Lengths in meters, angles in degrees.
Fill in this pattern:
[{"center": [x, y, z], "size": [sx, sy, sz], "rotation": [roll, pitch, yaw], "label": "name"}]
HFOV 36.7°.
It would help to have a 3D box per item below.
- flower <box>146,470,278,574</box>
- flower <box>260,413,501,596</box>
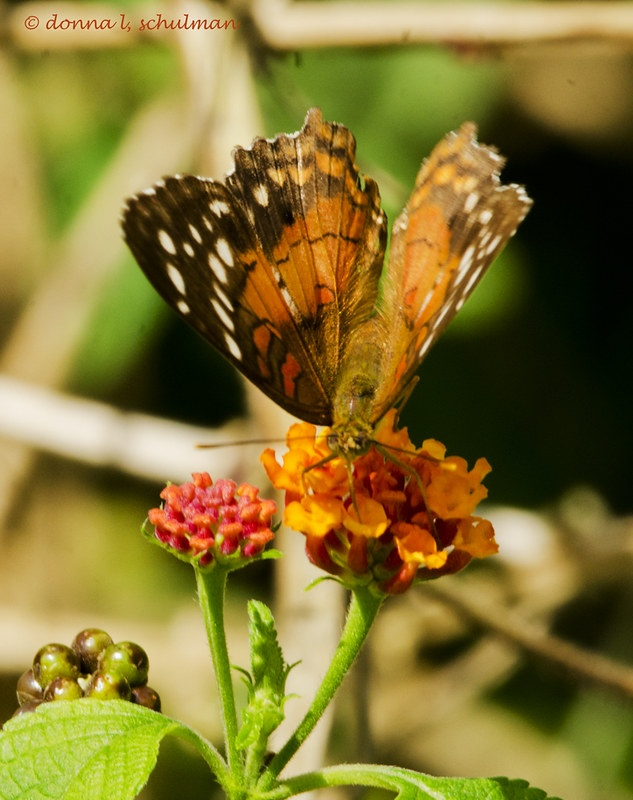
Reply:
[{"center": [-0.161, 0.184, 1.478], "size": [0.191, 0.102, 0.151], "rotation": [-6, 63, 1], "label": "flower"}, {"center": [0.104, 0.138, 1.493], "size": [0.330, 0.199, 0.323], "rotation": [-18, 63, -6], "label": "flower"}]
